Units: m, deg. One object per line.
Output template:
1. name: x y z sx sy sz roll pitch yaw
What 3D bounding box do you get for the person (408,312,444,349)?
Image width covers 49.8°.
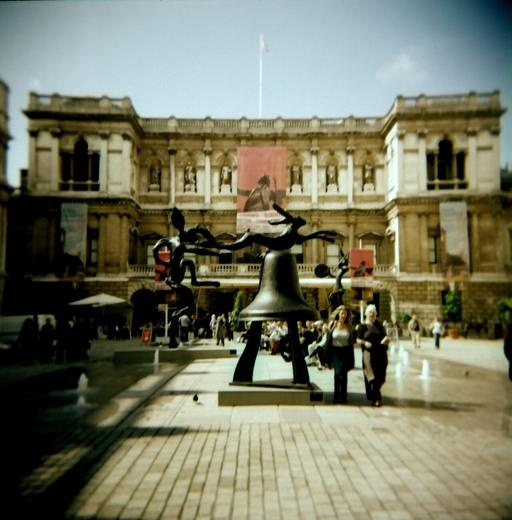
1. person: 8.237 3.468 26.711 1.384 1.859 0.737 0 -38 7
